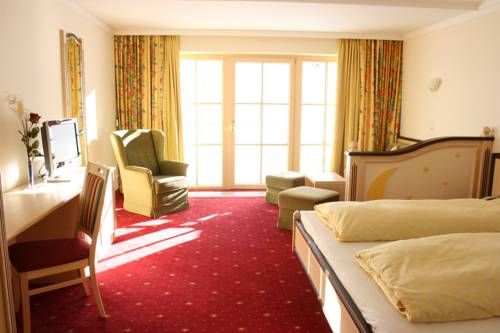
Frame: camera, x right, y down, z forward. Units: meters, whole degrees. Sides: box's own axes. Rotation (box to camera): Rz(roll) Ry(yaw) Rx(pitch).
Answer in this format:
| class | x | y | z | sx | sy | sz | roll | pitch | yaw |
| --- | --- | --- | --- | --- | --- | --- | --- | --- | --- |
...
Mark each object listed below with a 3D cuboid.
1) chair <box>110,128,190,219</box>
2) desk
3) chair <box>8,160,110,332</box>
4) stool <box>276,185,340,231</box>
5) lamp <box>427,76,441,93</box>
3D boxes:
| class | x | y | z | sx | sy | sz | roll | pitch | yaw |
| --- | --- | --- | --- | --- | --- | --- | --- | --- | --- |
| chair | -1.556 | 0.048 | 5.284 | 1.014 | 1.159 | 0.950 | 10 | 13 | 33 |
| desk | -1.785 | 0.538 | 3.133 | 0.360 | 0.548 | 1.105 | -3 | 13 | -9 |
| chair | -1.629 | 0.658 | 2.979 | 0.808 | 1.287 | 0.659 | -7 | 12 | -33 |
| stool | 0.691 | 0.454 | 4.493 | 0.641 | 0.491 | 0.636 | 1 | 2 | 22 |
| lamp | 2.933 | -1.313 | 5.412 | 0.087 | 0.236 | 0.257 | -1 | 10 | -7 |
